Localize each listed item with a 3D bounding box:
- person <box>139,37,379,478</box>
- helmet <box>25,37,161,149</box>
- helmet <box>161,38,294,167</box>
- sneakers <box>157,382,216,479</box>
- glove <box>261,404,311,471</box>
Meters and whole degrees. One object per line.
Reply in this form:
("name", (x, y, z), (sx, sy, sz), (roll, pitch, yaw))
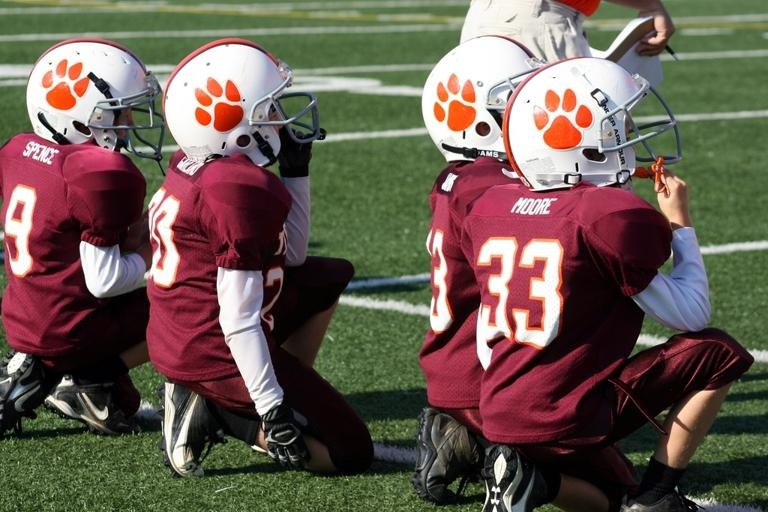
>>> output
("person", (-0.523, 0.033, 3.695), (0.673, 1.568, 0.824), (-10, 24, -32))
("helmet", (-1.182, -0.656, 3.962), (0.543, 0.466, 0.408), (0, 13, -10))
("helmet", (-0.549, -0.605, 3.804), (0.500, 0.432, 0.406), (-19, 21, -9))
("sneakers", (-0.745, 0.655, 3.826), (0.210, 0.432, 0.143), (-9, -5, 5))
("glove", (-0.334, 0.658, 3.641), (0.190, 0.232, 0.097), (31, 73, 25))
